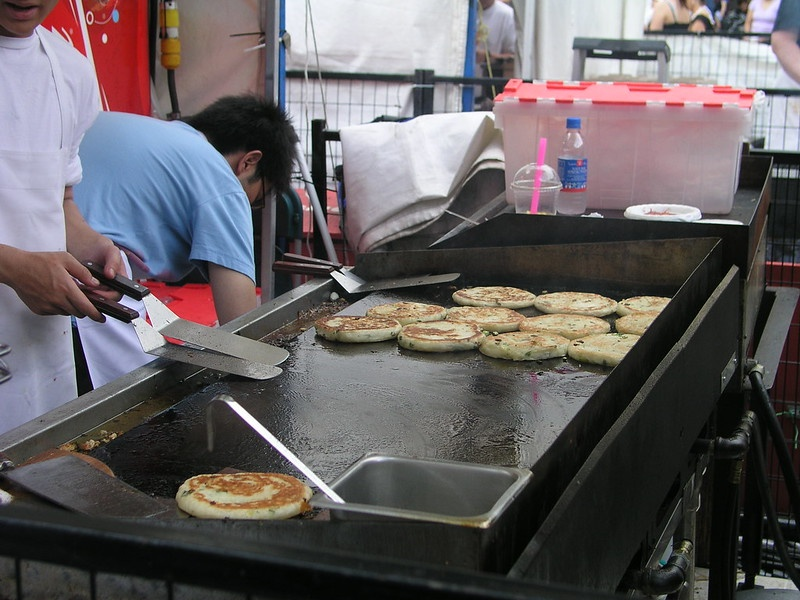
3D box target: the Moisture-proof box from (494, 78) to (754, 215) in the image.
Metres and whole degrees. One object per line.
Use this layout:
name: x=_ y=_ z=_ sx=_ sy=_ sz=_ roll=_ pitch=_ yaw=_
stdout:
Moisture-proof box: x=1.068 y=-0.678 z=3.158 sx=0.991 sy=0.398 sz=0.737 roll=5 pitch=16 yaw=19

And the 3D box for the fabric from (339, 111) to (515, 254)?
fabric: x=0.241 y=-0.650 z=4.394 sx=1.025 sy=0.394 sz=0.975 roll=-14 pitch=54 yaw=12

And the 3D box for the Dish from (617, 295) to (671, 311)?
Dish: x=0.911 y=0.014 z=2.476 sx=0.124 sy=0.028 sz=0.129 roll=4 pitch=14 yaw=28

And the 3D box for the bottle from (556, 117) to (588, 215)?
bottle: x=0.785 y=-0.613 z=2.979 sx=0.150 sy=0.432 sz=0.328 roll=4 pitch=17 yaw=14

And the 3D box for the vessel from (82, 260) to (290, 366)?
vessel: x=-0.795 y=0.048 z=2.428 sx=0.853 sy=0.143 sz=0.224 roll=25 pitch=17 yaw=-10

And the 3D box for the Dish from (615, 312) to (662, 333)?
Dish: x=0.776 y=0.075 z=2.131 sx=0.097 sy=0.016 sz=0.070 roll=-15 pitch=18 yaw=-15

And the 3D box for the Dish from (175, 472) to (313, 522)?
Dish: x=-0.311 y=0.395 z=1.297 sx=0.175 sy=0.023 sz=0.147 roll=-2 pitch=12 yaw=-16

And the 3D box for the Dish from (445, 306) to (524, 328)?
Dish: x=0.318 y=0.064 z=2.391 sx=0.148 sy=0.020 sz=0.126 roll=8 pitch=19 yaw=26
